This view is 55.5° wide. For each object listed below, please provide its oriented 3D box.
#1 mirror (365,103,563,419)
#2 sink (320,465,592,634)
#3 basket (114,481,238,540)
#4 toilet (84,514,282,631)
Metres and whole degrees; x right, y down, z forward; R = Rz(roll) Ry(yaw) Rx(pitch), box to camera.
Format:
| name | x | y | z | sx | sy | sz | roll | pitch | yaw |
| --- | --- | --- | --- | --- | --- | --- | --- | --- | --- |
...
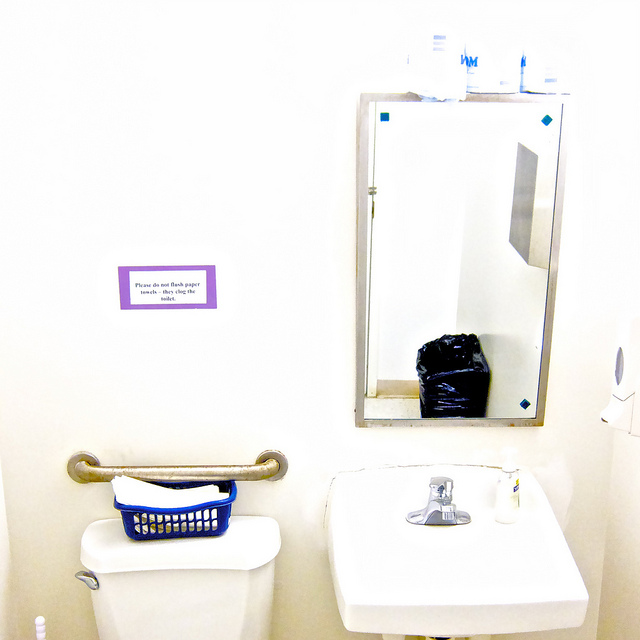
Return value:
| name | x | y | z | sx | sy | sz | roll | pitch | yaw |
| --- | --- | --- | --- | --- | --- | --- | --- | --- | --- |
| mirror | 0.353 | -0.162 | 1.589 | 0.543 | 1.031 | 0.031 | 5 | -19 | 10 |
| sink | 0.307 | 0.492 | 1.460 | 0.564 | 0.226 | 0.463 | -2 | 13 | -3 |
| basket | -0.368 | 0.506 | 1.589 | 0.214 | 0.090 | 0.165 | -1 | 8 | -6 |
| toilet | -0.351 | 0.667 | 1.545 | 0.413 | 0.330 | 0.298 | 0 | 15 | -1 |
